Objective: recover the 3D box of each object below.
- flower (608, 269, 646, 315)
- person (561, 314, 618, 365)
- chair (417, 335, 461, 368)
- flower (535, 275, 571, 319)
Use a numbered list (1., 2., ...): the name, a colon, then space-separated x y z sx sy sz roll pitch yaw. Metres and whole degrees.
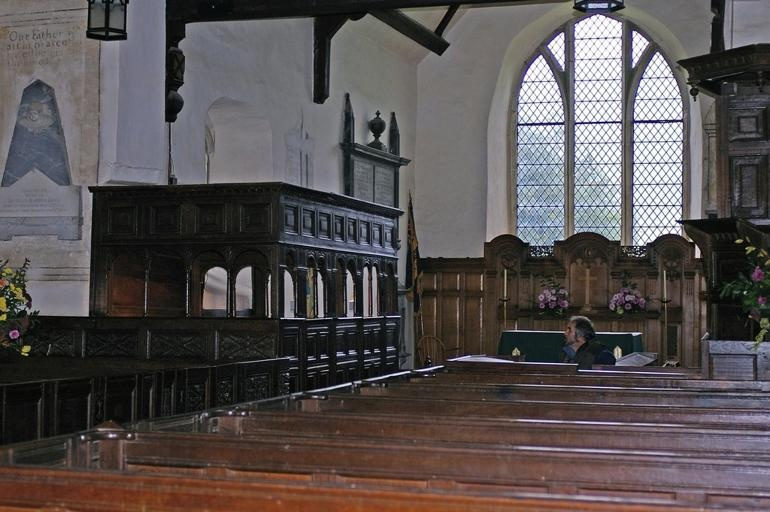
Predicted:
1. flower: 3.617 0.526 16.413 0.547 0.642 0.442 -2 -7 11
2. person: 2.042 0.915 11.314 0.508 0.664 0.719 5 -7 -5
3. chair: 0.862 1.462 17.426 0.704 0.477 0.487 -1 -7 1
4. flower: 2.565 0.585 16.782 0.518 0.604 0.433 -2 -7 8
